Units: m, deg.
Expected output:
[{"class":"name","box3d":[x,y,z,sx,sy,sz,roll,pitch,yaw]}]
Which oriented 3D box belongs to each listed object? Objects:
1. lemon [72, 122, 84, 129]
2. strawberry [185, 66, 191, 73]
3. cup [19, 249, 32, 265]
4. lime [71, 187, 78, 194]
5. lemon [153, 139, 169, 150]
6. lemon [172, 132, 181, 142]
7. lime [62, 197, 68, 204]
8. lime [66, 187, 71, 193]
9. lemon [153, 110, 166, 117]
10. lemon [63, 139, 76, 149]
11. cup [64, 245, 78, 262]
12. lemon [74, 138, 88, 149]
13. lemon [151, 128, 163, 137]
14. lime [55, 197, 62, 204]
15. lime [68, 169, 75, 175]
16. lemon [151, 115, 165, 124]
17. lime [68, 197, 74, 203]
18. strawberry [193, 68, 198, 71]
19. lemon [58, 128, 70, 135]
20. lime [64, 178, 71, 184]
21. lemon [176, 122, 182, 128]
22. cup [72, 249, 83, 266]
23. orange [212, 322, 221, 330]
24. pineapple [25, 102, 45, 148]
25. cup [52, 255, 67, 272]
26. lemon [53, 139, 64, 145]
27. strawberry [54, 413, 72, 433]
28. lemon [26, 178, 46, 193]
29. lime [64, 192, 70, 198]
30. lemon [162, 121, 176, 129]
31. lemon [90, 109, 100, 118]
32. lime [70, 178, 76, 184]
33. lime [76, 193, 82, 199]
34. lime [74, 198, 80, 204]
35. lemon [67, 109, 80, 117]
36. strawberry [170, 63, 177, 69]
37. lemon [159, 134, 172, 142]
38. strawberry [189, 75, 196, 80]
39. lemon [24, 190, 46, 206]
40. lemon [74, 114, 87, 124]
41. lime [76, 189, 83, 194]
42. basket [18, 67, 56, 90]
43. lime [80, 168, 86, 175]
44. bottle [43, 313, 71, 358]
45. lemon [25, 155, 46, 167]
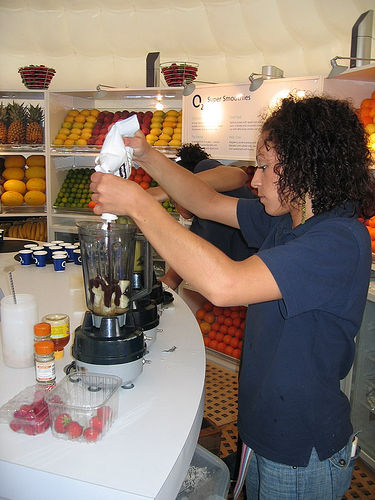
[{"class":"lemon","box3d":[-1.097,-1.236,3.866,0.078,0.082,0.073,4,16,2]},{"class":"strawberry","box3d":[0.007,-1.470,3.181,0.064,0.039,0.022,-1,11,-42]},{"class":"cup","box3d":[-0.888,0.041,2.119,0.079,0.063,0.063,5,12,-7]},{"class":"lime","box3d":[-1.139,-0.591,3.885,0.066,0.068,0.062,1,11,9]},{"class":"lemon","box3d":[-0.227,-0.919,3.396,0.114,0.078,0.081,3,14,-6]},{"class":"lemon","box3d":[-0.094,-1.007,3.464,0.092,0.060,0.067,6,14,22]},{"class":"lime","box3d":[-1.232,-0.494,3.884,0.051,0.054,0.048,-10,-9,14]},{"class":"lime","box3d":[-1.194,-0.588,3.912,0.043,0.045,0.041,0,11,3]},{"class":"lemon","box3d":[-0.267,-1.280,3.667,0.087,0.060,0.063,3,3,-19]},{"class":"lemon","box3d":[-1.129,-1.005,3.706,0.081,0.060,0.062,22,55,23]},{"class":"cup","box3d":[-0.677,0.017,2.294,0.087,0.081,0.089,4,19,-1]},{"class":"lemon","box3d":[-1.015,-1.004,3.718,0.121,0.102,0.105,2,9,3]},{"class":"lemon","box3d":[-0.287,-1.068,3.548,0.086,0.058,0.065,7,3,3]},{"class":"lime","box3d":[-1.304,-0.498,3.912,0.066,0.063,0.043,6,8,-2]},{"class":"lime","box3d":[-1.205,-0.808,4.021,0.067,0.058,0.074,5,5,2]},{"class":"lemon","box3d":[-0.278,-1.208,3.625,0.101,0.069,0.073,5,14,14]},{"class":"lime","box3d":[-1.165,-0.496,3.865,0.058,0.056,0.025,6,8,3]},{"class":"strawberry","box3d":[0.064,-1.499,3.247,0.026,0.010,0.034,-7,27,-16]},{"class":"lemon","box3d":[-1.227,-1.171,3.853,0.082,0.086,0.076,2,12,3]},{"class":"lime","box3d":[-1.244,-0.700,3.979,0.053,0.057,0.048,9,50,-1]},{"class":"lemon","box3d":[-0.079,-1.130,3.531,0.040,0.070,0.106,5,7,-6]},{"class":"cup","box3d":[-0.629,0.043,2.195,0.049,0.086,0.133,4,8,-19]},{"class":"orange","box3d":[0.230,0.600,3.096,0.057,0.050,0.061,2,-22,-4]},{"class":"pineapple","box3d":[-1.515,-1.210,3.833,0.163,0.424,0.205,3,8,-22]},{"class":"cup","box3d":[-0.677,0.067,2.092,0.084,0.059,0.079,1,12,0]},{"class":"lemon","box3d":[-1.254,-1.035,3.745,0.070,0.074,0.063,2,6,7]},{"class":"strawberry","box3d":[-0.221,0.303,0.688,0.031,0.030,0.027,3,38,-35]},{"class":"lemon","box3d":[-1.556,-0.664,3.972,0.176,0.116,0.125,1,14,-7]},{"class":"lime","box3d":[-1.218,-0.553,3.902,0.054,0.056,0.049,9,54,0]},{"class":"lemon","box3d":[-0.169,-1.141,3.551,0.097,0.052,0.063,4,15,21]},{"class":"lemon","box3d":[-0.951,-1.390,4.003,0.086,0.093,0.078,1,44,12]},{"class":"lime","box3d":[-1.162,-0.697,3.947,0.052,0.055,0.049,13,29,2]},{"class":"lime","box3d":[-1.087,-0.535,3.862,0.044,0.045,0.041,2,8,8]},{"class":"lime","box3d":[-1.099,-0.489,3.850,0.043,0.045,0.041,1,6,7]},{"class":"lemon","box3d":[-1.161,-1.360,3.936,0.094,0.070,0.077,-6,0,-41]},{"class":"strawberry","box3d":[-0.118,-1.512,3.216,0.045,0.061,0.099,5,7,-5]},{"class":"lemon","box3d":[-0.202,-0.991,3.455,0.080,0.055,0.056,4,1,-4]},{"class":"strawberry","box3d":[0.036,-1.434,3.236,0.049,0.020,0.064,-3,21,-4]},{"class":"lemon","box3d":[-1.552,-0.526,3.941,0.149,0.130,0.183,1,1,0]},{"class":"lemon","box3d":[-1.087,-1.306,3.905,0.077,0.072,0.098,12,15,30]},{"class":"lime","box3d":[-1.080,-0.585,3.868,0.039,0.041,0.037,-1,7,3]},{"class":"basket","box3d":[-1.418,-1.583,3.685,0.258,0.134,0.257,18,25,38]},{"class":"lime","box3d":[-1.088,-0.809,3.994,0.072,0.030,0.064,0,55,-5]},{"class":"bottle","box3d":[-0.372,0.238,1.092,0.081,0.108,0.072,0,-2,-10]},{"class":"lemon","box3d":[-1.570,-0.923,4.060,0.343,0.133,0.127,11,9,39]}]
